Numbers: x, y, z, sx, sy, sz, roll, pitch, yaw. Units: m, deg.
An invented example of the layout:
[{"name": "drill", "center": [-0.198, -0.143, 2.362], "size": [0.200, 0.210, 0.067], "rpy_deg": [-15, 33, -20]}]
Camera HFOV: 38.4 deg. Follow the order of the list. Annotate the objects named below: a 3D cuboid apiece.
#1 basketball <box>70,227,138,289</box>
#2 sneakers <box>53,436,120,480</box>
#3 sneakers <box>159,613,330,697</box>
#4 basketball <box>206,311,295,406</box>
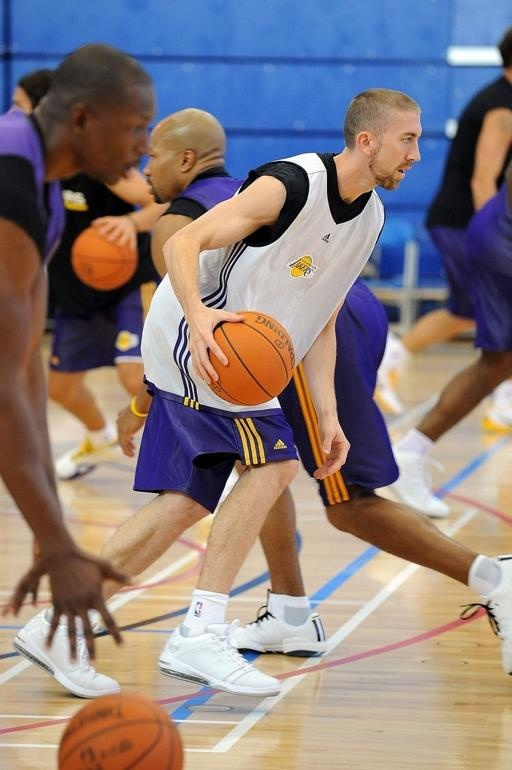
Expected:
[{"name": "basketball", "center": [-0.719, -0.606, 3.474], "size": [0.326, 0.339, 0.311], "rpy_deg": [1, 14, -21]}, {"name": "sneakers", "center": [-0.902, 0.373, 3.930], "size": [0.322, 0.191, 0.123], "rpy_deg": [-28, 80, -37]}, {"name": "sneakers", "center": [-0.033, 0.613, 1.616], "size": [0.263, 0.096, 0.298], "rpy_deg": [2, 2, 5]}, {"name": "basketball", "center": [-0.013, -0.058, 1.513], "size": [0.220, 0.172, 0.182], "rpy_deg": [-13, 7, -23]}]
